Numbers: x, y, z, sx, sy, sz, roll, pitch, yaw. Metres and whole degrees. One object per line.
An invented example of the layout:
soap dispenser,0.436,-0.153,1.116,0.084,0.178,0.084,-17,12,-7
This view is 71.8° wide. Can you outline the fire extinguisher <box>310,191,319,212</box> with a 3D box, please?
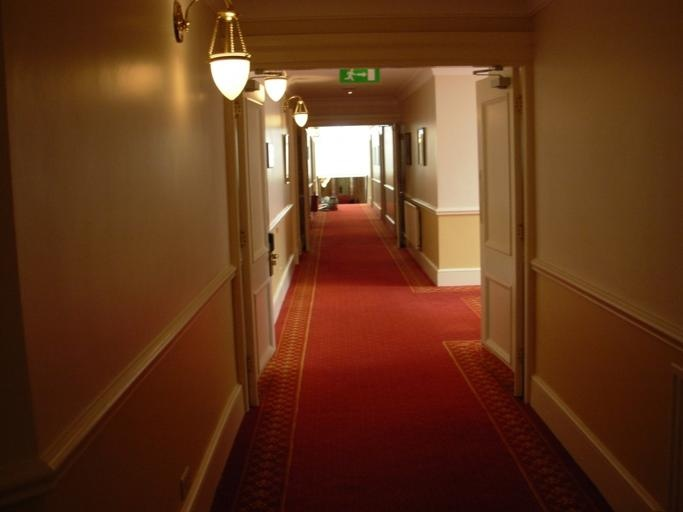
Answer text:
fire extinguisher,-1.078,-2.121,18.573,0.232,0.647,0.442,-2,10,-3
